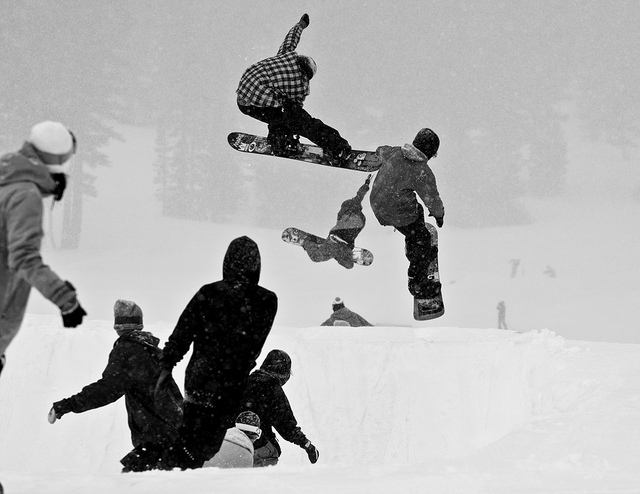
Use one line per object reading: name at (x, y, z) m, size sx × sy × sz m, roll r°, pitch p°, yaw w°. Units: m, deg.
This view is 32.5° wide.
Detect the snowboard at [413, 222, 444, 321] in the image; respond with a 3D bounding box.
snowboard at (1.745, 0.406, 17.849) m, size 0.461 × 1.654 × 0.386 m, roll -3°, pitch 9°, yaw -5°

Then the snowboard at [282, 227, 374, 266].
snowboard at (0.179, -0.081, 17.574) m, size 0.389 × 0.589 × 2.787 m, roll -12°, pitch 8°, yaw -21°

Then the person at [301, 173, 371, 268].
person at (0.298, -0.387, 18.231) m, size 1.112 × 1.513 × 0.409 m, roll -2°, pitch 9°, yaw 3°

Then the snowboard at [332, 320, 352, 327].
snowboard at (0.443, 1.534, 22.107) m, size 0.328 × 0.109 × 0.135 m, roll -2°, pitch 9°, yaw 2°

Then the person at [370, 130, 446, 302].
person at (1.372, -0.659, 16.677) m, size 0.975 × 2.341 × 1.269 m, roll -26°, pitch 47°, yaw -5°

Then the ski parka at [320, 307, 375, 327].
ski parka at (0.520, 1.434, 22.281) m, size 1.016 × 0.436 × 0.505 m, roll -3°, pitch 9°, yaw -1°
